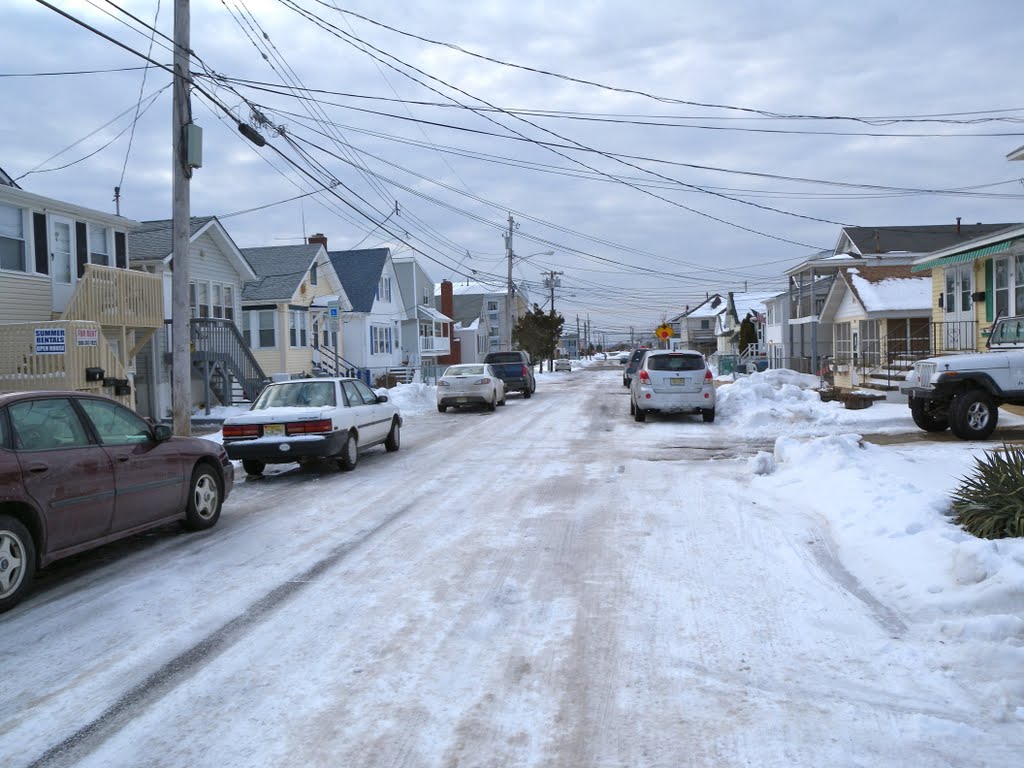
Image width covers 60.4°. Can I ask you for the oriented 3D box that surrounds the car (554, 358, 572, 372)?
[{"bbox_3d":[5.071,-1.883,90.301,1.536,1.090,1.670,-1,-1,-1],"label":"car"}]

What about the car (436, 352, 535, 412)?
[{"bbox_3d":[-1.024,-0.086,28.421,1.972,1.076,3.314,-1,6,14],"label":"car"}]
